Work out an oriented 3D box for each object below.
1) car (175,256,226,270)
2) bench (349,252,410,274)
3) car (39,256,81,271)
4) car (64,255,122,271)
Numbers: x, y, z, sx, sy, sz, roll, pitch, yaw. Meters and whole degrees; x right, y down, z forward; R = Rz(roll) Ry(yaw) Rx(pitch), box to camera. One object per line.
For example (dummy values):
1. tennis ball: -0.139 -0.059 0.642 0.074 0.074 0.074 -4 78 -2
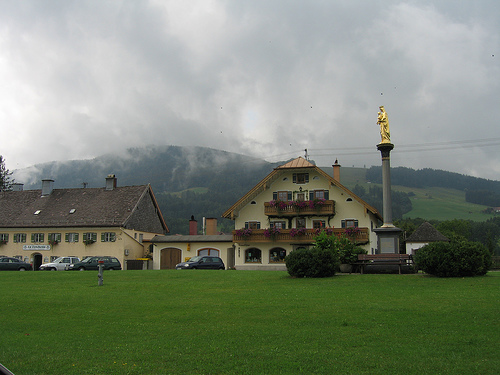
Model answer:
1. car: -4.181 6.619 57.029 3.942 0.913 2.091 -1 -1 -32
2. bench: 8.924 5.074 43.753 3.546 1.162 2.396 -2 -1 16
3. car: -17.478 6.988 60.191 2.641 1.242 1.635 3 -8 -15
4. car: -14.394 7.120 60.963 2.963 1.396 5.251 -2 -1 11
